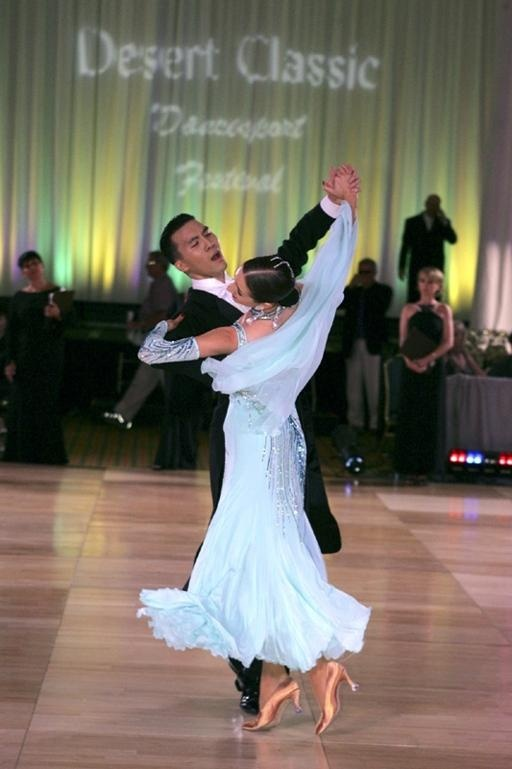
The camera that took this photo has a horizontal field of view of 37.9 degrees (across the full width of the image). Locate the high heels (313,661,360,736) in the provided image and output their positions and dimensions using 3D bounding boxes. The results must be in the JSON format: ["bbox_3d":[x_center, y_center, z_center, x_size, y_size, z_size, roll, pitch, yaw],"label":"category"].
[{"bbox_3d":[0.183,0.732,1.746,0.112,0.186,0.066,1,4,-33],"label":"high heels"}]

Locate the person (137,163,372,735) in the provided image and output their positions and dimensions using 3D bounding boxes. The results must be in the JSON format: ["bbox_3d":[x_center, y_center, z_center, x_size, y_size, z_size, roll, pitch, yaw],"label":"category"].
[{"bbox_3d":[0.018,0.154,1.797,0.543,1.393,0.389,4,4,10],"label":"person"}]
